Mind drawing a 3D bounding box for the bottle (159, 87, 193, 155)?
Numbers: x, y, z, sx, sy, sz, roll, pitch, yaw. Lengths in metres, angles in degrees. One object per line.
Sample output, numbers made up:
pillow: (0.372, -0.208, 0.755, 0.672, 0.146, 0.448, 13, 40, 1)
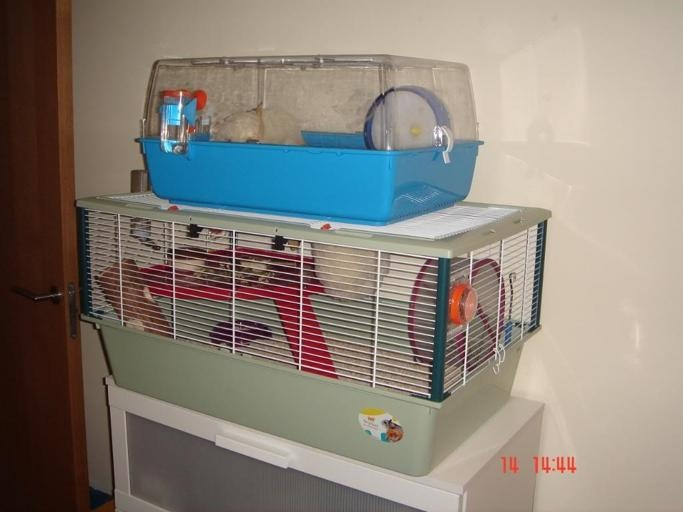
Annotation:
bottle: (-0.356, -0.297, 1.296, 0.090, 0.139, 0.067, 6, 4, 16)

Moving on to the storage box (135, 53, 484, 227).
storage box: (-0.111, -0.277, 1.302, 0.768, 0.329, 0.299, 8, 17, 22)
